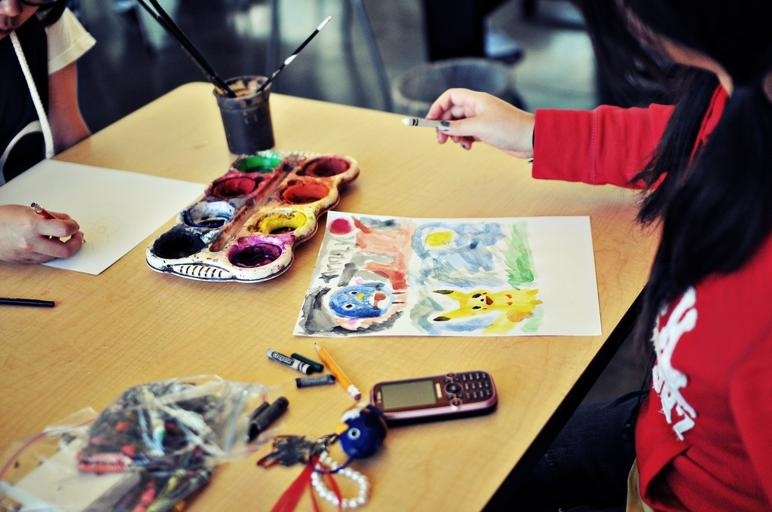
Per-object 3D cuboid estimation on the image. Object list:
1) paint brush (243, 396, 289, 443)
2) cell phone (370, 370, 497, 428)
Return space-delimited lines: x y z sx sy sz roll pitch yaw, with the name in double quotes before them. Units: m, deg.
"paint brush" -0.162 0.222 0.817 0.023 0.027 0.096 -18 17 38
"cell phone" 0.064 0.198 0.839 0.168 0.043 0.068 -3 44 5
